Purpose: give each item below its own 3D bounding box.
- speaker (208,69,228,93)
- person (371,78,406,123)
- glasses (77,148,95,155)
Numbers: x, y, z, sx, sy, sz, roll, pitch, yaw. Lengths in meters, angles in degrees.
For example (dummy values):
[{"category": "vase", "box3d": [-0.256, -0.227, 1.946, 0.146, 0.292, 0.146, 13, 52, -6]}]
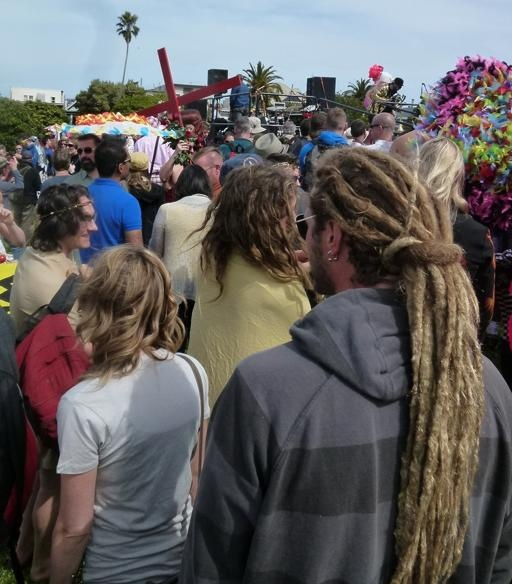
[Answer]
[{"category": "speaker", "box3d": [-1.351, -7.669, 20.398, 0.646, 0.529, 0.645, 1, 14, -11]}, {"category": "person", "box3d": [3.051, -4.434, 13.186, 0.796, 1.139, 0.656, 15, 16, 8]}, {"category": "glasses", "box3d": [-1.592, -1.316, 5.387, 0.112, 0.036, 0.101, 0, 27, 3]}]
